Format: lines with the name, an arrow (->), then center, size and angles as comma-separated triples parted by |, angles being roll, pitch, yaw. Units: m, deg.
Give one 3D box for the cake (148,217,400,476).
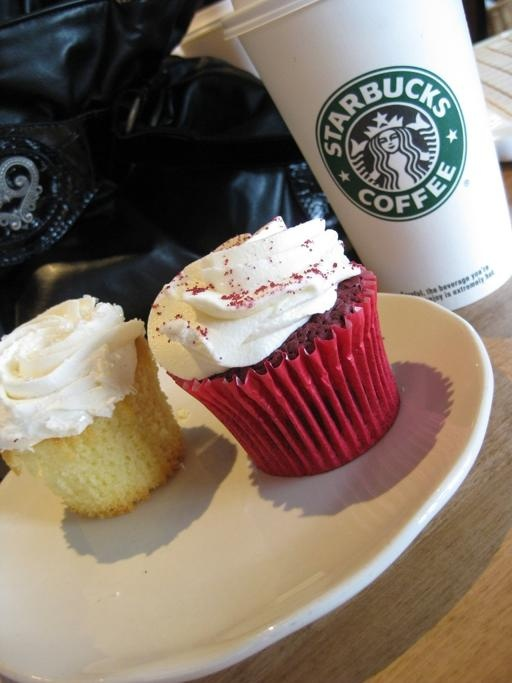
cake -> 0.015, 0.010, 0.727 | 0.291, 0.228, 0.218 | -4, 21, 40
